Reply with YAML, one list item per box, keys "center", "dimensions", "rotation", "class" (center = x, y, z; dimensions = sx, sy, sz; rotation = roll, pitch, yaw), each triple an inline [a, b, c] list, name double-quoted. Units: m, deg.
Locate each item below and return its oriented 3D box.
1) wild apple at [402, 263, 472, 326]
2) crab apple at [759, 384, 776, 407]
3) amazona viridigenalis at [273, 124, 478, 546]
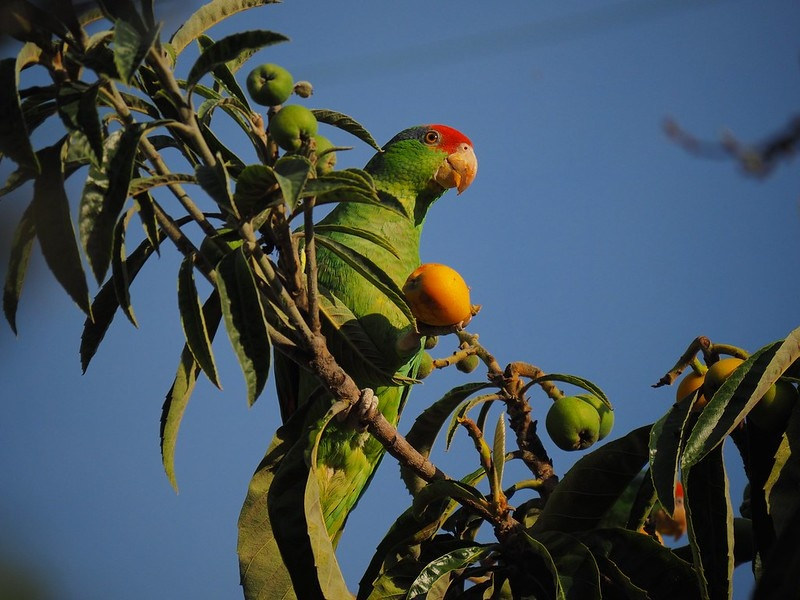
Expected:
- center: [0.125, 0.020, 4.193]
  dimensions: [0.148, 0.162, 0.199]
  rotation: [-11, -37, 45]
  class: "wild apple"
- center: [1.070, 0.284, 4.119]
  dimensions: [0.042, 0.058, 0.056]
  rotation: [29, -75, 10]
  class: "crab apple"
- center: [-0.122, 0.171, 4.335]
  dimensions: [0.729, 1.494, 0.484]
  rotation: [-10, -41, 15]
  class: "amazona viridigenalis"
